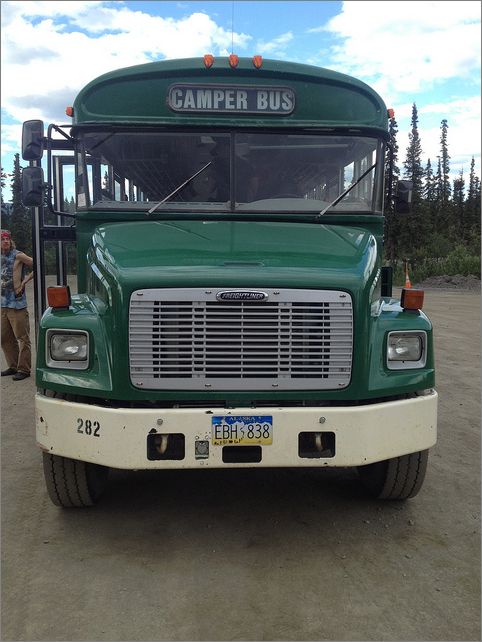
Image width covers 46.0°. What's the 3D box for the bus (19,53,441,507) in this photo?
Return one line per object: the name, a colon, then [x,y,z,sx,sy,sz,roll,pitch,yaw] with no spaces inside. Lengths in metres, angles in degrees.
bus: [-0.161,-0.599,5.317,2.634,2.878,4.880,-1,10,-3]
